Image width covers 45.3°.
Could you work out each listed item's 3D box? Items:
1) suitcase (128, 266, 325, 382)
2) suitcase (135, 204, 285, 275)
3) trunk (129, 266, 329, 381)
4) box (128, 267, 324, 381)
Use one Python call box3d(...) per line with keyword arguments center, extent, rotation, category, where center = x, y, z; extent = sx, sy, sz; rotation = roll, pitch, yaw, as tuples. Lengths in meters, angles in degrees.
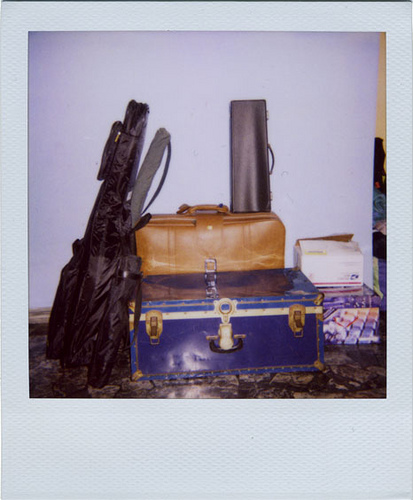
box3d(center=(0.080, 0.278, 2.281), extent=(0.903, 0.358, 0.790), rotation=(-1, 8, -3), category="suitcase")
box3d(center=(0.036, 0.070, 2.044), extent=(0.643, 0.454, 0.244), rotation=(-1, 14, -1), category="suitcase")
box3d(center=(0.061, 0.282, 2.017), extent=(0.748, 0.339, 0.496), rotation=(-3, 12, -9), category="trunk")
box3d(center=(0.098, 0.262, 2.005), extent=(0.721, 0.332, 0.460), rotation=(-2, 19, -1), category="box")
